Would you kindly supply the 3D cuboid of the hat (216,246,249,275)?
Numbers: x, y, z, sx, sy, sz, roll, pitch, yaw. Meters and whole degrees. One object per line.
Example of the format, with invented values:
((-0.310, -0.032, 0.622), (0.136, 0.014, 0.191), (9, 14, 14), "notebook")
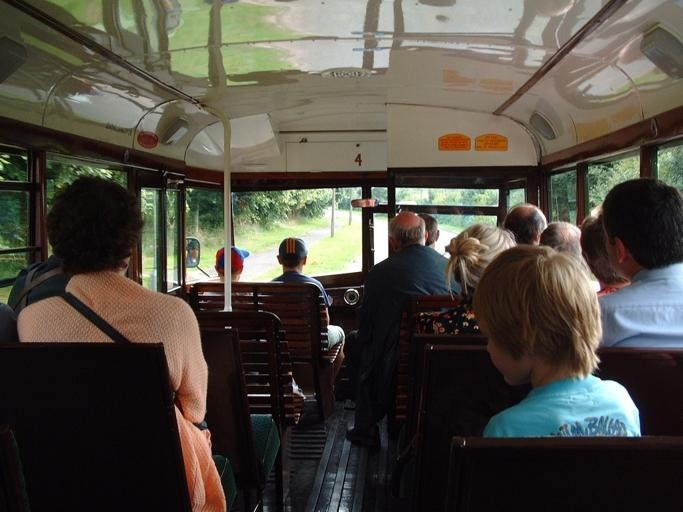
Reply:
((-1.219, 0.041, 5.913), (0.271, 0.232, 0.443), (3, 18, 16), "hat")

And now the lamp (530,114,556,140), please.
((2.146, -1.362, 5.487), (0.222, 0.294, 0.498), (-1, -2, 12), "lamp")
